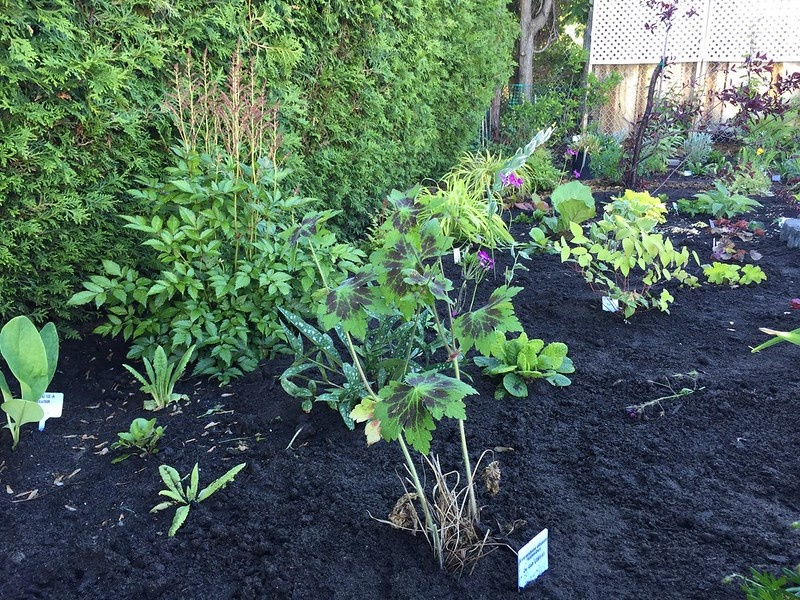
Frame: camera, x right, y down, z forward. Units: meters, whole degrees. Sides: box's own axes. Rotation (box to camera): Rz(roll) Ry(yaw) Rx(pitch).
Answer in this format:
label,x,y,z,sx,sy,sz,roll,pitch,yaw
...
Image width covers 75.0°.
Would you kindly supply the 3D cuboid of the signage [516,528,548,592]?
label,x,y,z,sx,sy,sz,roll,pitch,yaw
signage,0.512,0.979,2.005,0.174,0.179,0.015,2,-3,-36
